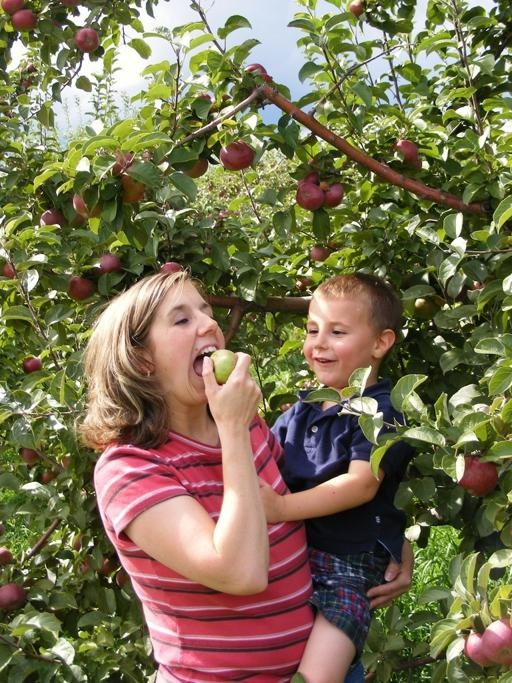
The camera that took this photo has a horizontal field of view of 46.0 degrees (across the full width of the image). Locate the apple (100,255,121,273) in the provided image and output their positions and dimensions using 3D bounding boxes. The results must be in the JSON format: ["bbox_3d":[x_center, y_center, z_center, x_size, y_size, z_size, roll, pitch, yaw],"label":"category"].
[{"bbox_3d":[-0.451,-0.241,1.855,0.071,0.053,0.058,-16,20,-39],"label":"apple"}]

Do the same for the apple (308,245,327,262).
[{"bbox_3d":[0.240,-0.341,2.317,0.067,0.056,0.062,0,4,2],"label":"apple"}]

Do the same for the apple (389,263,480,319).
[{"bbox_3d":[0.568,-0.159,1.944,0.188,0.075,0.184,8,27,32],"label":"apple"}]

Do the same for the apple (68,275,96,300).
[{"bbox_3d":[-0.545,-0.167,1.878,0.078,0.070,0.074,-10,29,-16],"label":"apple"}]

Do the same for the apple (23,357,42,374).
[{"bbox_3d":[-0.752,0.079,2.031,0.058,0.040,0.060,-3,-16,-11],"label":"apple"}]

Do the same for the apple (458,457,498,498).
[{"bbox_3d":[0.445,0.272,1.203,0.070,0.084,0.192,-6,-3,20],"label":"apple"}]

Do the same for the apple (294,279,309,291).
[{"bbox_3d":[0.185,-0.228,2.412,0.049,0.042,0.055,1,9,6],"label":"apple"}]
